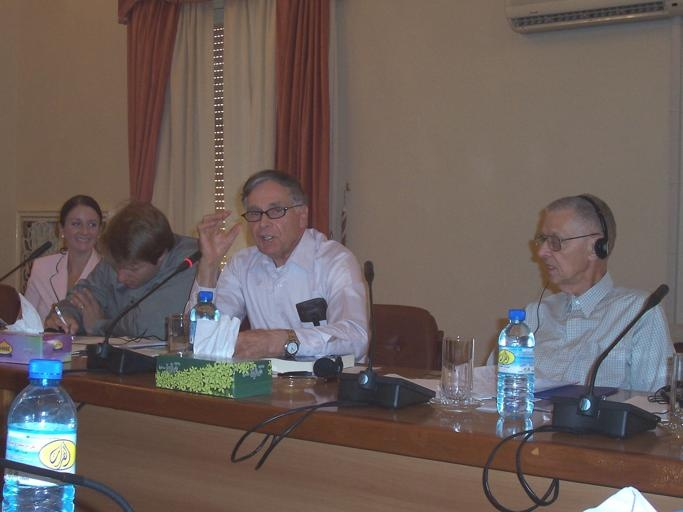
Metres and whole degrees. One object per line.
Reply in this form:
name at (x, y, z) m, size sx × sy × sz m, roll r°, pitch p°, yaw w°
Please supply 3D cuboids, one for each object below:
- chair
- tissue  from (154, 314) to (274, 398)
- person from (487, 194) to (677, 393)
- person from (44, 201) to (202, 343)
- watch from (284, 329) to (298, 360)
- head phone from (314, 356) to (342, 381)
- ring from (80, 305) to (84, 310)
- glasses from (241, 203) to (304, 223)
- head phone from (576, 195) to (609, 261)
chair at (0.254, 0.335, 3.018) m, size 0.278 × 0.450 × 0.318 m, roll 1°, pitch -7°, yaw 23°
tissue  at (-0.392, 0.225, 2.000) m, size 0.371 × 0.290 × 0.196 m, roll 0°, pitch -3°, yaw 32°
person at (1.021, 0.169, 2.786) m, size 0.402 × 0.862 × 0.828 m, roll -5°, pitch 7°, yaw -24°
person at (-1.094, 0.093, 3.284) m, size 0.423 × 0.774 × 0.461 m, roll 13°, pitch 23°, yaw 15°
watch at (-0.190, 0.319, 2.350) m, size 0.040 × 0.081 × 0.077 m, roll 0°, pitch 16°, yaw -8°
head phone at (-0.043, 0.357, 2.128) m, size 0.085 × 0.072 × 0.078 m, roll -4°, pitch -10°, yaw 18°
ring at (-1.245, 0.244, 3.203) m, size 0.013 × 0.020 × 0.008 m, roll 1°, pitch -21°, yaw -12°
glasses at (-0.302, -0.193, 2.962) m, size 0.263 × 0.062 × 0.102 m, roll -9°, pitch 8°, yaw -8°
head phone at (1.000, -0.104, 2.666) m, size 0.070 × 0.209 × 0.224 m, roll -2°, pitch -3°, yaw -11°
